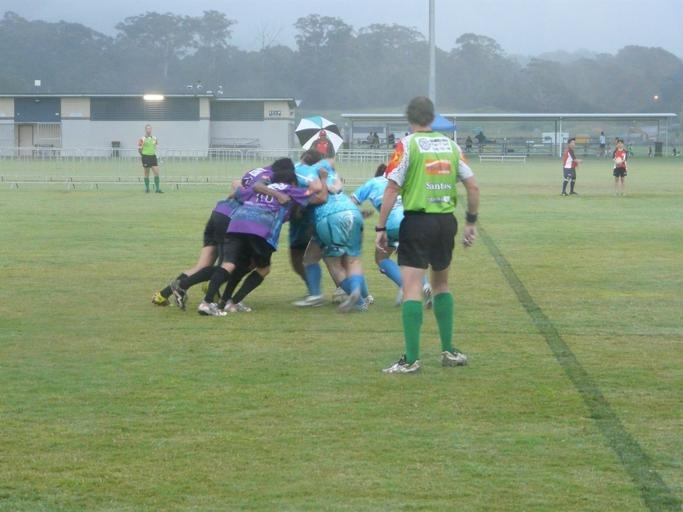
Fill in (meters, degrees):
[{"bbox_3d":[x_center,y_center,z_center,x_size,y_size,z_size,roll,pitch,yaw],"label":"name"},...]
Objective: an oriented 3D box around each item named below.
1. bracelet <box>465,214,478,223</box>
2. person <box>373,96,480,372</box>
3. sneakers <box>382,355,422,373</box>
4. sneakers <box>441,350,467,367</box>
[{"bbox_3d":[1.164,-0.346,10.184,0.085,0.063,0.090,12,-4,9],"label":"bracelet"},{"bbox_3d":[0.762,-0.197,10.033,0.879,2.413,0.402,-4,8,-25],"label":"person"},{"bbox_3d":[0.548,0.957,10.078,0.404,0.155,0.119,1,4,4],"label":"sneakers"},{"bbox_3d":[1.002,0.905,10.156,0.143,0.078,0.176,1,0,-6],"label":"sneakers"}]
